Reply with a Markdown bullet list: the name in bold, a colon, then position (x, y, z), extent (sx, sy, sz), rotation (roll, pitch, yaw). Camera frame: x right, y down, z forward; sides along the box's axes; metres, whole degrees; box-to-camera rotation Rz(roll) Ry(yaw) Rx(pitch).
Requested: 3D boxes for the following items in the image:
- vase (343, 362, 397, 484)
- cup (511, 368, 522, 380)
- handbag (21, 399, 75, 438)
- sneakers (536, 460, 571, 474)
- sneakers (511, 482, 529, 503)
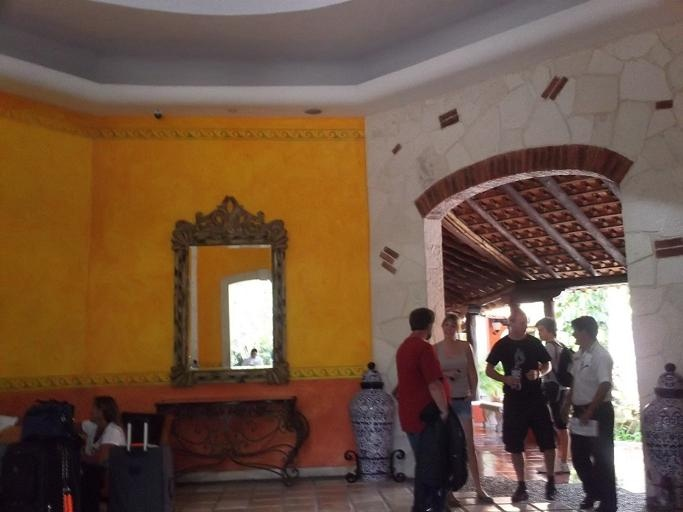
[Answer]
- **vase**: position (0.399, 2.050, 7.541), extent (0.678, 1.411, 0.377), rotation (-2, -10, 4)
- **cup**: position (1.878, 1.265, 6.513), extent (0.091, 0.092, 0.095), rotation (0, -9, 0)
- **handbag**: position (-2.512, 1.421, 5.232), extent (0.412, 0.302, 0.239), rotation (0, -10, -10)
- **sneakers**: position (2.641, 2.670, 7.630), extent (0.474, 0.205, 0.162), rotation (4, -15, -11)
- **sneakers**: position (1.868, 2.500, 6.407), extent (0.132, 0.243, 0.249), rotation (6, -17, -15)
